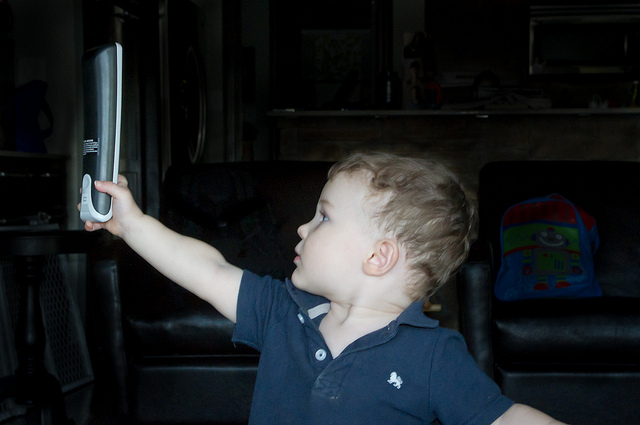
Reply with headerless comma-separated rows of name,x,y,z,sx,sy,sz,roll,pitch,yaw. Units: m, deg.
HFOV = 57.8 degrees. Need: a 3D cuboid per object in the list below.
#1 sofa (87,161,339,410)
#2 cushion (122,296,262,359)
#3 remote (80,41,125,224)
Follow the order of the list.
sofa,-0.320,0.212,2.536,1.038,0.969,0.997,0,-5,3
cushion,-0.507,0.409,1.988,0.429,0.230,0.102,0,1,-4
remote,-0.627,-0.209,1.636,0.242,0.499,0.071,3,2,44
